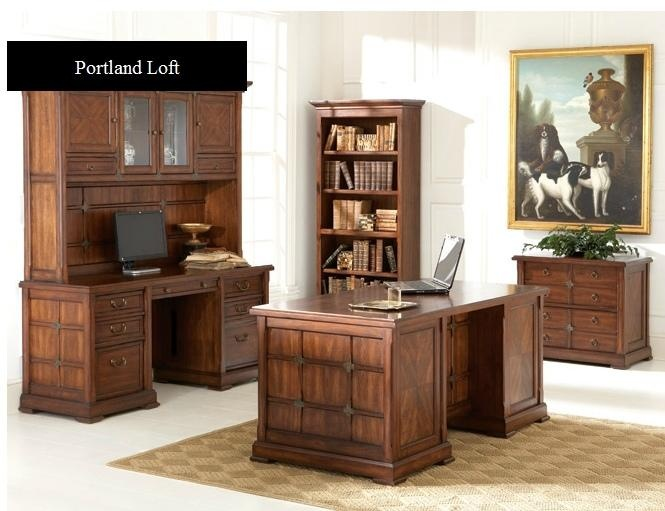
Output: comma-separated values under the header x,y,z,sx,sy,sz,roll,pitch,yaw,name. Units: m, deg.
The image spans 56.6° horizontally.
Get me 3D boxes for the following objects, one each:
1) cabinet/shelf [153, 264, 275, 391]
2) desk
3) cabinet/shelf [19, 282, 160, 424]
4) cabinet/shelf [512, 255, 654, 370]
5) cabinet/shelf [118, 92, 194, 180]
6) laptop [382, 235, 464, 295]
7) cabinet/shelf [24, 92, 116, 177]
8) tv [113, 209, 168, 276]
x,y,z,sx,sy,sz,roll,pitch,yaw,name
-1.295,0.722,6.329,1.179,0.985,1.039,-3,-1,8,cabinet/shelf
0.603,0.885,4.645,1.196,0.883,2.173,-3,-3,37,desk
-2.043,0.759,5.757,1.226,1.394,1.259,1,3,24,cabinet/shelf
2.772,0.601,6.890,0.774,1.029,1.289,0,1,-43,cabinet/shelf
-1.637,-1.110,5.582,0.799,0.622,0.270,-8,17,-41,cabinet/shelf
0.674,0.064,4.734,0.577,0.381,0.597,-5,5,-2,laptop
-2.173,-0.995,5.005,0.545,0.817,0.752,4,7,23,cabinet/shelf
-1.790,-0.129,5.680,0.334,0.610,0.690,1,5,36,tv
